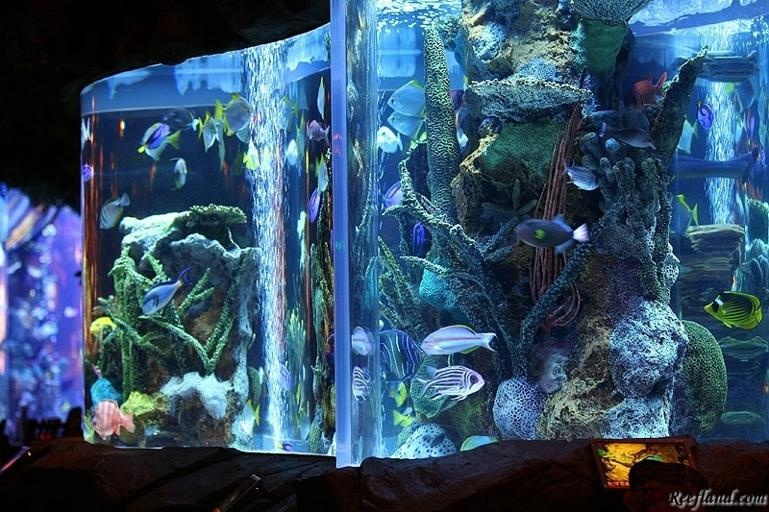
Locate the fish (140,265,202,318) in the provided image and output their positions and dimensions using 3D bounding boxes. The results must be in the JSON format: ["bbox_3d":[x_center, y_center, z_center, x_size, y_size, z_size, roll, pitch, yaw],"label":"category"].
[{"bbox_3d":[-2.015,0.347,7.172,0.525,0.109,0.265,-34,124,-23],"label":"fish"}]

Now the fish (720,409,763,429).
[{"bbox_3d":[2.897,1.327,6.328,0.238,0.055,0.149,9,56,9],"label":"fish"}]

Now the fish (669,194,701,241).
[{"bbox_3d":[2.452,-0.346,6.434,0.426,0.124,0.238,-8,94,-33],"label":"fish"}]

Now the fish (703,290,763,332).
[{"bbox_3d":[2.775,0.452,6.195,0.310,0.109,0.222,7,89,9],"label":"fish"}]

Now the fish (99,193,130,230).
[{"bbox_3d":[-2.722,-0.448,7.880,0.192,0.102,0.440,37,87,7],"label":"fish"}]

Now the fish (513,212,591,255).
[{"bbox_3d":[1.271,-0.173,5.899,0.534,0.114,0.316,7,107,15],"label":"fish"}]

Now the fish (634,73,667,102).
[{"bbox_3d":[2.156,-1.333,6.286,0.321,0.060,0.213,-17,83,1],"label":"fish"}]
